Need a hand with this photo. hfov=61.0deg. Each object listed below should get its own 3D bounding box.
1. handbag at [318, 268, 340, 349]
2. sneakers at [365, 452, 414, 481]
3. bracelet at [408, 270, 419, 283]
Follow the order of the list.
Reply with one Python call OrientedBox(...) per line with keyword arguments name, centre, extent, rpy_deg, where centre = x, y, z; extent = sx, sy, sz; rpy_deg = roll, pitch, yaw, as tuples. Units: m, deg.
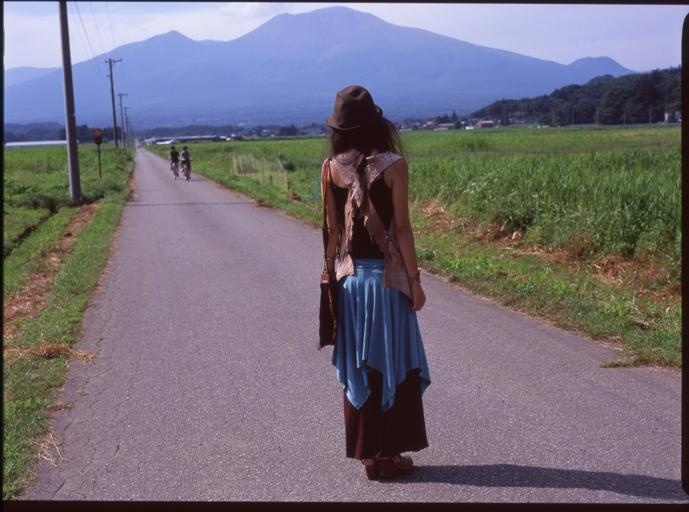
OrientedBox(name="handbag", centre=(-0.133, 0.412, 4.694), extent=(0.098, 0.502, 0.265), rpy_deg=(-2, -11, 7))
OrientedBox(name="sneakers", centre=(0.355, 1.646, 4.702), extent=(0.366, 0.205, 0.171), rpy_deg=(-4, 3, -28))
OrientedBox(name="bracelet", centre=(0.550, 0.159, 4.659), extent=(0.064, 0.077, 0.095), rpy_deg=(-1, 4, -15))
